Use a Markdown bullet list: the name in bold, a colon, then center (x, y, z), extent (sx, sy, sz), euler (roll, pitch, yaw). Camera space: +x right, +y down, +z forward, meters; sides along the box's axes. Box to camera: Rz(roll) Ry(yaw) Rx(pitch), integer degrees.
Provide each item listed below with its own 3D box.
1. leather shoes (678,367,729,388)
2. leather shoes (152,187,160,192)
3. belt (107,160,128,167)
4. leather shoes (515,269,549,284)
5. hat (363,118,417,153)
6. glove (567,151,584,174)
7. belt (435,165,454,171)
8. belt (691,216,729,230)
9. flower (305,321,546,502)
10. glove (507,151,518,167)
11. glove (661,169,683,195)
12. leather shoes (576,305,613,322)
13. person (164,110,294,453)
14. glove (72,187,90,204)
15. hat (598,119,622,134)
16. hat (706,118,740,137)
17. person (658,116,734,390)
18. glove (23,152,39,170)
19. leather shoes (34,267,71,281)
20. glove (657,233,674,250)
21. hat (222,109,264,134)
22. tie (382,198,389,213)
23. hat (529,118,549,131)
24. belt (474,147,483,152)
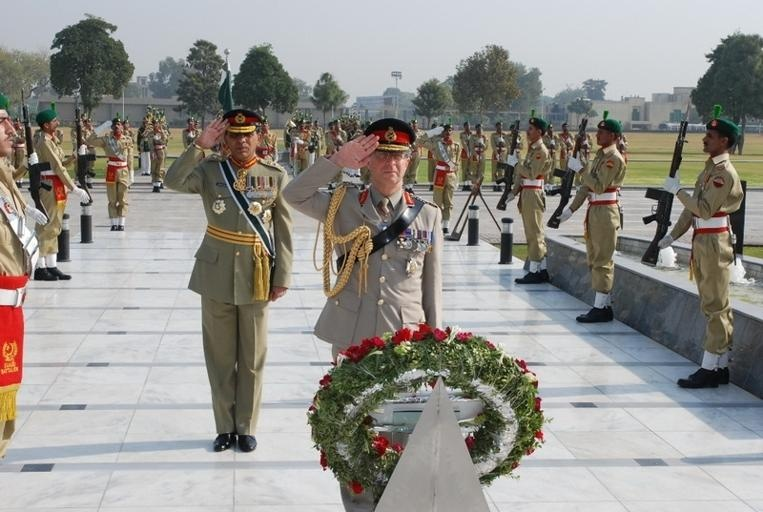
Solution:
- **leather shoes**: center (3.465, 1.286, 9.127), extent (0.624, 0.256, 0.206), euler (1, 1, -3)
- **leather shoes**: center (-6.989, -2.069, 26.460), extent (0.203, 0.187, 0.128), euler (1, 7, 16)
- **belt**: center (-5.493, -1.927, 17.786), extent (0.386, 0.168, 0.424), euler (-3, 14, -23)
- **leather shoes**: center (2.404, 0.310, 13.367), extent (0.627, 0.255, 0.202), euler (3, -1, -3)
- **hat**: center (0.094, -0.910, 6.343), extent (0.274, 0.152, 0.300), euler (3, -27, -3)
- **glove**: center (2.687, -1.277, 11.776), extent (0.175, 0.239, 0.089), euler (22, 22, 39)
- **belt**: center (1.441, -1.970, 19.036), extent (0.242, 0.063, 0.233), euler (-4, 13, -43)
- **belt**: center (3.525, -0.352, 9.076), extent (0.229, 0.081, 0.166), euler (-3, 6, -6)
- **flower**: center (0.280, 1.104, 5.789), extent (1.459, 1.476, 0.621), euler (-4, 5, 1)
- **glove**: center (2.289, -1.700, 14.797), extent (0.213, 0.292, 0.298), euler (0, 0, 8)
- **glove**: center (3.220, -0.781, 9.566), extent (0.144, 0.380, 0.299), euler (1, 13, 27)
- **leather shoes**: center (2.787, 0.761, 11.328), extent (0.574, 0.232, 0.188), euler (3, 0, -5)
- **person**: center (-1.321, 0.218, 7.655), extent (0.999, 3.035, 0.652), euler (2, 12, -6)
- **glove**: center (-4.838, -0.984, 13.625), extent (0.275, 0.230, 0.812), euler (4, -2, -7)
- **hat**: center (2.991, -1.693, 11.181), extent (0.292, 0.207, 0.477), euler (6, 13, 13)
- **hat**: center (3.611, -1.365, 9.012), extent (0.311, 0.174, 0.341), euler (7, 14, 19)
- **person**: center (3.520, -0.034, 9.102), extent (0.699, 2.813, 0.683), euler (3, 12, -1)
- **glove**: center (-5.127, -1.416, 12.501), extent (0.218, 0.274, 0.143), euler (17, -11, -10)
- **leather shoes**: center (-5.013, 0.285, 13.007), extent (0.438, 0.164, 0.237), euler (-1, 3, -13)
- **glove**: center (3.484, -0.192, 10.466), extent (0.174, 0.102, 0.160), euler (-40, -7, -2)
- **hat**: center (-1.229, -1.197, 7.529), extent (0.324, 0.215, 0.311), euler (1, 13, -10)
- **tie**: center (0.036, -0.394, 6.618), extent (0.092, 0.090, 0.027), euler (27, -9, -39)
- **hat**: center (2.432, -2.039, 13.213), extent (0.265, 0.229, 0.493), euler (5, 13, 8)
- **belt**: center (3.356, -3.659, 29.271), extent (0.168, 0.152, 0.042), euler (0, -6, 15)
